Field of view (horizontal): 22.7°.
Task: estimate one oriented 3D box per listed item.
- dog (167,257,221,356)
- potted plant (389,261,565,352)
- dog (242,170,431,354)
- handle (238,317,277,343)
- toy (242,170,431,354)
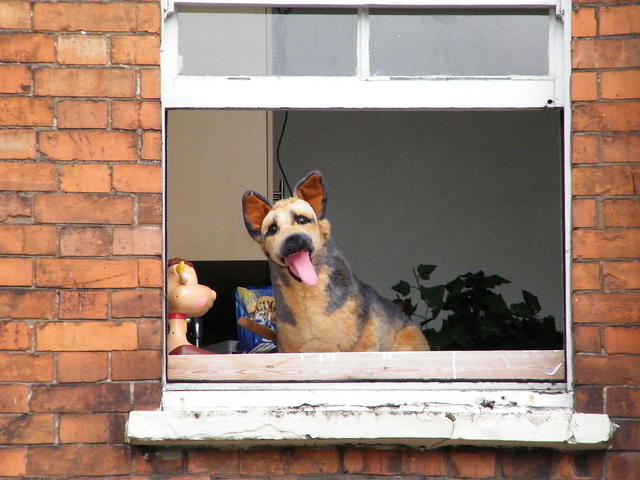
[{"bbox_3d":[-0.541,0.275,6.579,0.196,0.397,0.290,-1,0,-4],"label":"dog"},{"bbox_3d":[0.658,0.282,7.095,0.708,0.251,0.629,8,5,-38],"label":"potted plant"},{"bbox_3d":[0.043,0.184,6.707,0.577,0.855,0.902,-12,-6,25],"label":"dog"},{"bbox_3d":[-0.271,0.384,6.772,0.192,0.038,0.028,29,-13,20],"label":"handle"},{"bbox_3d":[0.045,0.209,6.729,0.579,0.845,0.885,-14,-9,28],"label":"toy"}]
